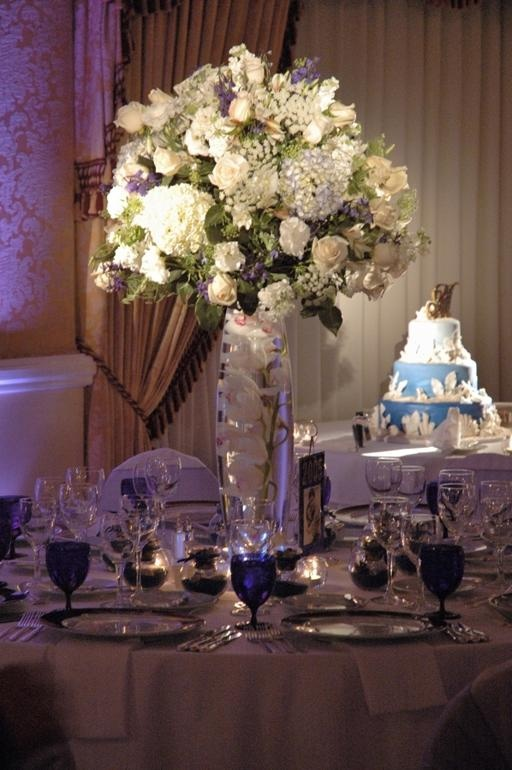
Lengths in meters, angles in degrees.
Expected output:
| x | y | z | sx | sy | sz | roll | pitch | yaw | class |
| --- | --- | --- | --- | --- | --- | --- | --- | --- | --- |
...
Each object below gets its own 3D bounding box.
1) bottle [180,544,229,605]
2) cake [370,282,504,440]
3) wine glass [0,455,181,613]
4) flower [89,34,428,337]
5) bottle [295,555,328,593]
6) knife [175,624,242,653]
| x | y | z | sx | sy | sz | roll | pitch | yaw | class |
| --- | --- | --- | --- | --- | --- | --- | --- | --- | --- |
| -0.099 | 0.366 | 1.408 | 0.099 | 0.105 | 0.096 | 4 | -9 | -22 | bottle |
| 1.005 | -0.160 | 4.191 | 0.730 | 0.737 | 0.706 | 8 | 18 | 41 | cake |
| -0.308 | 0.292 | 1.582 | 0.374 | 0.394 | 0.213 | -2 | -19 | 21 | wine glass |
| 0.046 | -0.332 | 1.761 | 0.693 | 0.561 | 0.674 | 5 | 3 | -42 | flower |
| 0.110 | 0.357 | 1.401 | 0.053 | 0.053 | 0.053 | 3 | 6 | 20 | bottle |
| -0.062 | 0.361 | 1.074 | 0.027 | 0.006 | 0.090 | 13 | 6 | 19 | knife |
